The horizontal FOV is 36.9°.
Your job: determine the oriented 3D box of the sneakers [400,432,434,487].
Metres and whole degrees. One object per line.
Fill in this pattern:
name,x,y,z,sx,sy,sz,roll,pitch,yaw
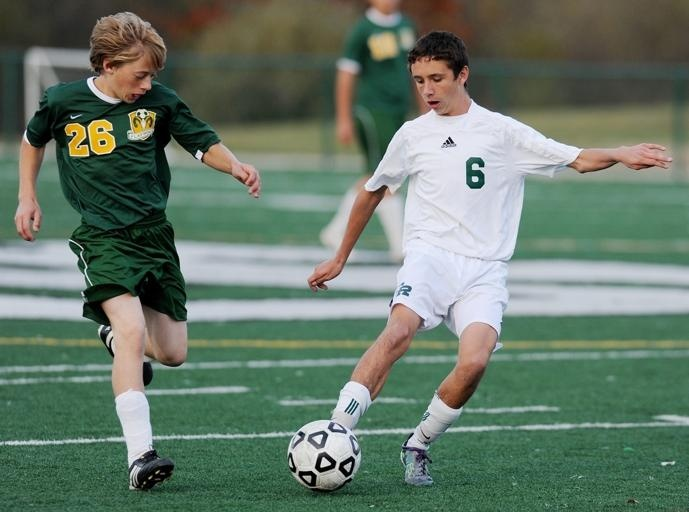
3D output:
sneakers,0.410,1.130,5.765,0.174,0.224,0.268,2,11,2

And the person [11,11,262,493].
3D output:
person,-1.227,-0.102,5.901,1.262,2.520,1.015,8,13,30

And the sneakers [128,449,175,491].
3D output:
sneakers,-1.038,1.135,5.504,0.327,0.155,0.131,-36,-24,32
